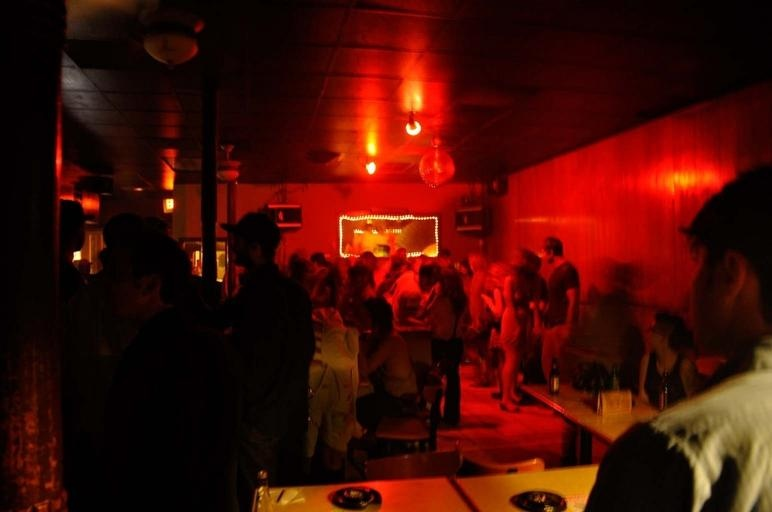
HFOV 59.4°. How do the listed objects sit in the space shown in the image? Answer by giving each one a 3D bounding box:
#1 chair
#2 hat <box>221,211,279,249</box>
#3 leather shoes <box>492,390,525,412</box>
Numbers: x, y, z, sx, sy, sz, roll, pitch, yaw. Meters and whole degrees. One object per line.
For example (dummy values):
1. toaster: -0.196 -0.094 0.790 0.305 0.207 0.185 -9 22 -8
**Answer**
1. chair: 0.200 1.251 5.409 0.627 0.859 0.629 4 -10 -12
2. hat: -0.910 -0.155 4.590 0.325 0.167 0.236 23 5 4
3. leather shoes: 1.293 1.618 7.476 0.130 0.166 0.417 3 -7 -31
